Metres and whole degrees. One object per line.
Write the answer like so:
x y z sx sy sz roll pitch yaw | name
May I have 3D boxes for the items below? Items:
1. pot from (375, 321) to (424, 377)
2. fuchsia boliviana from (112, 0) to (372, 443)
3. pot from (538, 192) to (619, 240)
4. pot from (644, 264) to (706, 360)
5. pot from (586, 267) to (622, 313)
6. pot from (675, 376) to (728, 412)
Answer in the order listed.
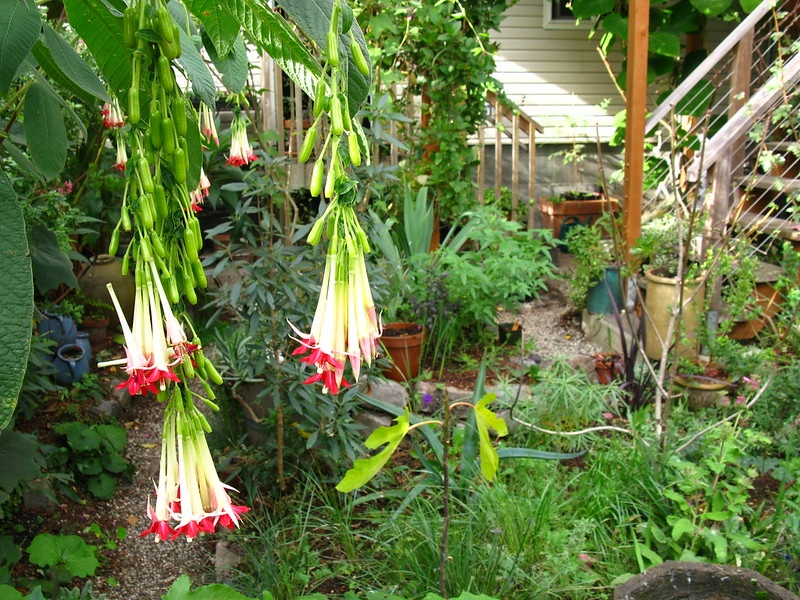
0.034 0.356 4.280 0.273 0.274 0.287 -6 2 0 | pot
-0.285 -0.035 1.226 0.301 0.984 0.286 2 7 -2 | fuchsia boliviana
2.212 -0.886 7.688 0.669 0.413 0.846 -1 3 -44 | pot
1.807 0.016 4.393 0.335 0.523 0.365 -15 16 4 | pot
1.432 -0.085 4.715 0.240 0.304 0.259 0 10 0 | pot
1.717 0.520 3.844 0.252 0.162 0.272 0 7 0 | pot
